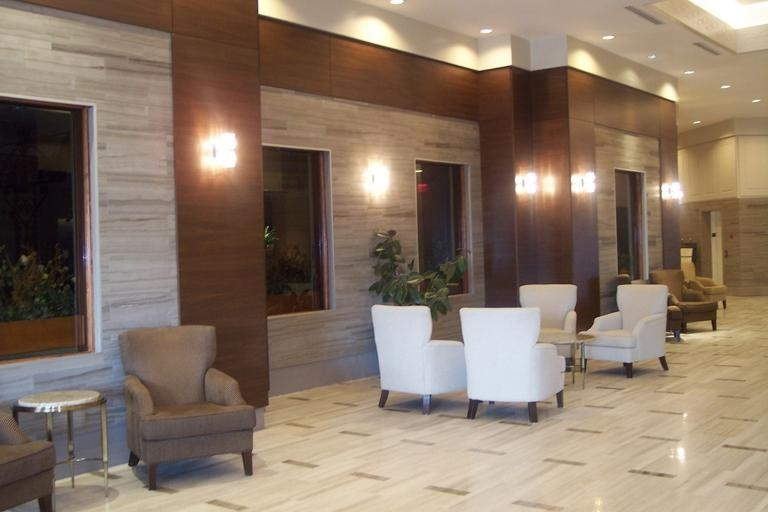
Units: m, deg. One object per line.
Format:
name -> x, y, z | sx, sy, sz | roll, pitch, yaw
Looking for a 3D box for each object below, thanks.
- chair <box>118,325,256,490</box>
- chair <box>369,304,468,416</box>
chair -> -1.927, 1.350, 5.237 | 1.275, 1.201, 1.150 | 0, -2, 37
chair -> 0.368, 1.249, 7.265 | 1.218, 1.615, 1.336 | -1, -1, 42
